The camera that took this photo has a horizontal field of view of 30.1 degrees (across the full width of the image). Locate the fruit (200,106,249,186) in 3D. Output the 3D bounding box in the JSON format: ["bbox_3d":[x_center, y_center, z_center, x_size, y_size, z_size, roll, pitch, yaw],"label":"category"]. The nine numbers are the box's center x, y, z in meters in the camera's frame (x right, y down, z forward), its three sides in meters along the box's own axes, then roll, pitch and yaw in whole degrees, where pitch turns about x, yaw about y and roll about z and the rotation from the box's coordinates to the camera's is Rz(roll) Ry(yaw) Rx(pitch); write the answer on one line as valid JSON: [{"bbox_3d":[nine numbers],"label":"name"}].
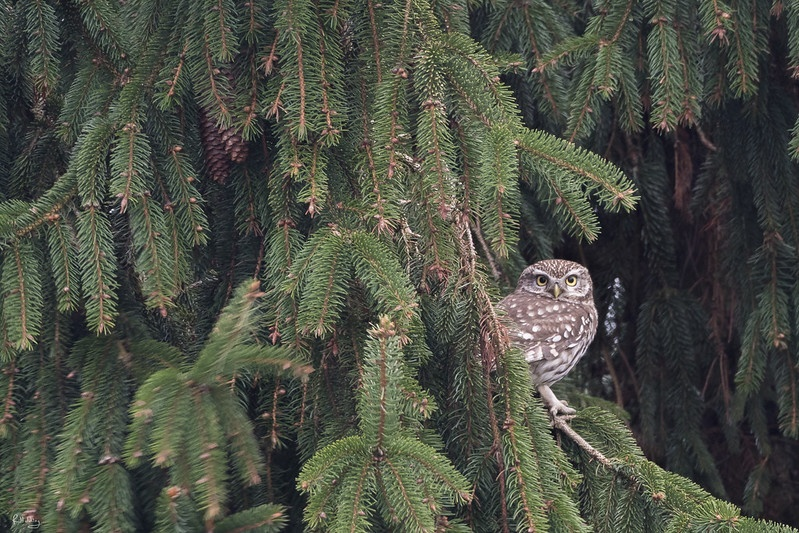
[{"bbox_3d":[-0.973,-0.635,8.247,0.186,0.415,0.220,-24,-6,-10],"label":"fruit"}]
